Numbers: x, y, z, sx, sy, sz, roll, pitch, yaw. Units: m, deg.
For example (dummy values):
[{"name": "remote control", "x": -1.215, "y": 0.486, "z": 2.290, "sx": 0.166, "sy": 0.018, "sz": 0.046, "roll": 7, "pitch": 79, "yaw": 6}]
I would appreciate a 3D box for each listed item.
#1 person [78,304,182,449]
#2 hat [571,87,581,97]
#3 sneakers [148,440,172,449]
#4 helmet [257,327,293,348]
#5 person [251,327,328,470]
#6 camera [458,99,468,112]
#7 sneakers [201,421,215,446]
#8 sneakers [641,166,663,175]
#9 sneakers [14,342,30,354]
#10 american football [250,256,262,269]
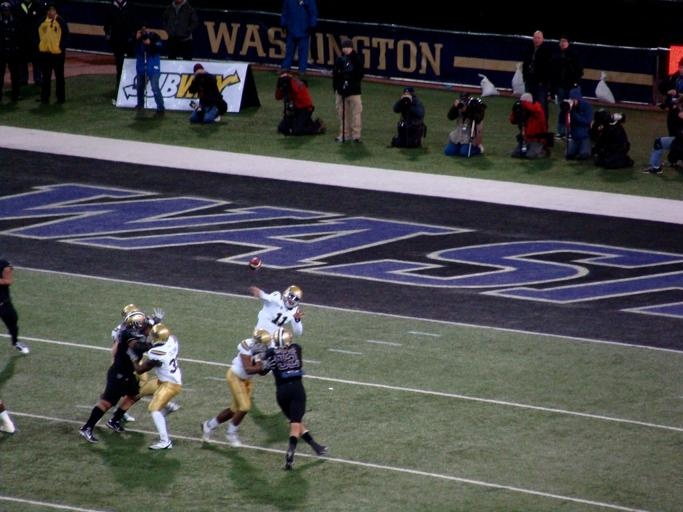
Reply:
[{"name": "person", "x": -3.611, "y": 1.982, "z": 21.171, "sx": 1.184, "sy": 2.253, "sz": 0.436, "roll": 1, "pitch": 10, "yaw": -8}, {"name": "hat", "x": 6.124, "y": -4.281, "z": 33.146, "sx": 0.278, "sy": 0.314, "sz": 0.583, "roll": 4, "pitch": 8, "yaw": 11}, {"name": "sneakers", "x": -2.959, "y": 3.134, "z": 21.164, "sx": 0.464, "sy": 0.147, "sz": 0.134, "roll": 1, "pitch": 11, "yaw": 1}, {"name": "helmet", "x": -1.083, "y": 1.351, "z": 21.042, "sx": 0.501, "sy": 0.173, "sz": 0.309, "roll": 6, "pitch": 0, "yaw": 3}, {"name": "person", "x": -0.807, "y": 2.355, "z": 21.018, "sx": 1.054, "sy": 2.244, "sz": 0.645, "roll": 11, "pitch": 12, "yaw": 41}, {"name": "camera", "x": 3.096, "y": -3.846, "z": 32.484, "sx": 0.239, "sy": 0.292, "sz": 0.253, "roll": -2, "pitch": 9, "yaw": -22}, {"name": "sneakers", "x": -2.202, "y": 2.980, "z": 21.339, "sx": 0.239, "sy": 0.386, "sz": 0.155, "roll": -3, "pitch": 11, "yaw": 4}, {"name": "sneakers", "x": 7.884, "y": -2.161, "z": 32.068, "sx": 0.562, "sy": 0.187, "sz": 0.175, "roll": 5, "pitch": 24, "yaw": 8}, {"name": "sneakers", "x": -5.759, "y": 1.685, "z": 23.158, "sx": 0.359, "sy": 0.130, "sz": 0.130, "roll": 21, "pitch": 51, "yaw": 17}, {"name": "american football", "x": -1.461, "y": 0.122, "z": 21.883, "sx": 0.231, "sy": 0.171, "sz": 0.248, "roll": 1, "pitch": -10, "yaw": -5}]
